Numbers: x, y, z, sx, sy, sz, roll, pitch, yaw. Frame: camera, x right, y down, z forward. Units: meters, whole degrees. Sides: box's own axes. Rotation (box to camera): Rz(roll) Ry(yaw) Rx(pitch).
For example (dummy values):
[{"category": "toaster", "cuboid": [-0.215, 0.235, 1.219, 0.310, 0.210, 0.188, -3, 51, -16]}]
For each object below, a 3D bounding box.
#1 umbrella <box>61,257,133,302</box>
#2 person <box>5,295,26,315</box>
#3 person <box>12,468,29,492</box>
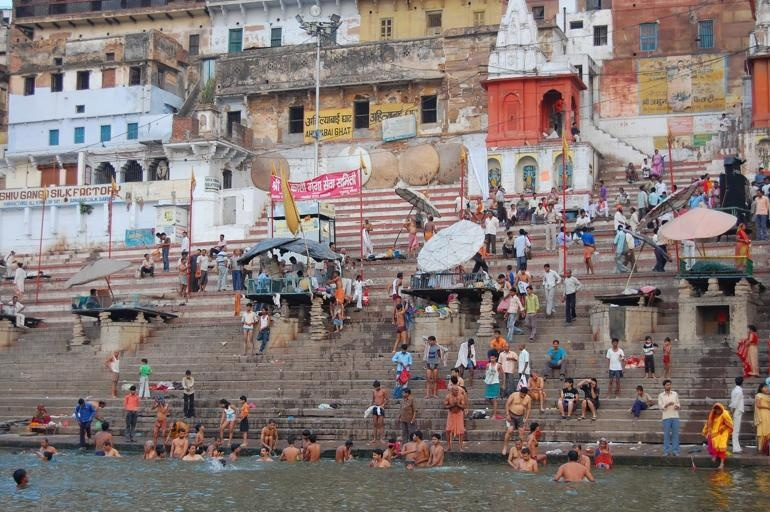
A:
[{"category": "umbrella", "cuboid": [-10.463, 0.870, 67.917, 2.059, 1.425, 2.107, -27, -12, 19]}, {"category": "person", "cuboid": [-14.060, 1.912, 70.215, 0.557, 0.308, 0.876, 9, 14, -16]}, {"category": "person", "cuboid": [-10.991, 6.679, 56.277, 0.575, 0.775, 0.542, -1, 1, 33]}]
